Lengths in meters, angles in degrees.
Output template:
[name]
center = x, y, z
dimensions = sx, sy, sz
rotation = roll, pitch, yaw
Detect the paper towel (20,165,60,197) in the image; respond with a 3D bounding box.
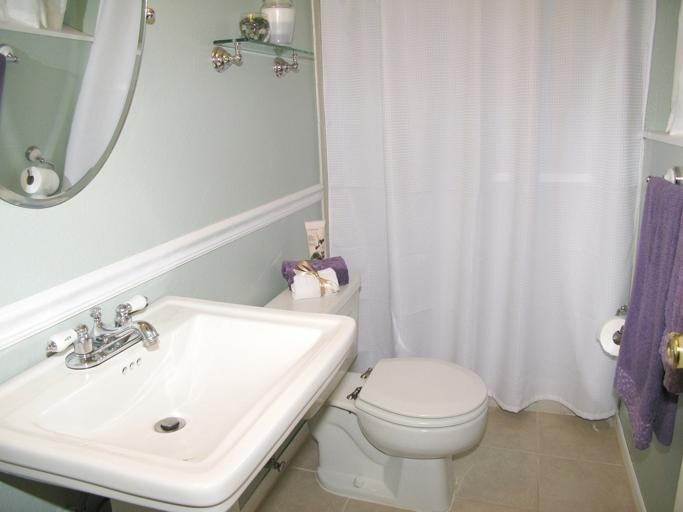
[paper towel]
center = -0.715, -0.175, 1.121
dimensions = 0.068, 0.062, 0.065
rotation = 33, 14, 2

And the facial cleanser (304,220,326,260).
[facial cleanser]
center = -0.123, -0.086, 2.255
dimensions = 0.093, 0.179, 0.116
rotation = -4, 24, -4

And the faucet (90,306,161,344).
[faucet]
center = -0.543, 0.173, 1.190
dimensions = 0.183, 0.110, 0.052
rotation = -4, 7, 6
